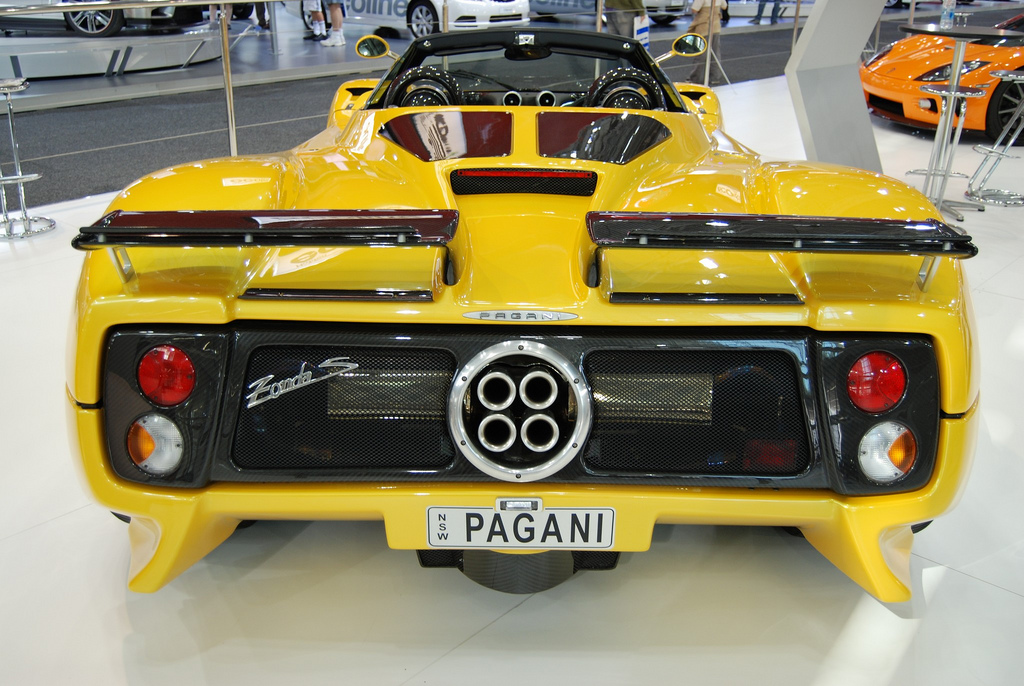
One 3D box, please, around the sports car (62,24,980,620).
[{"bbox_3d":[0.015,-0.365,2.627,1.616,0.727,2.277,1,24,1],"label":"sports car"}]
